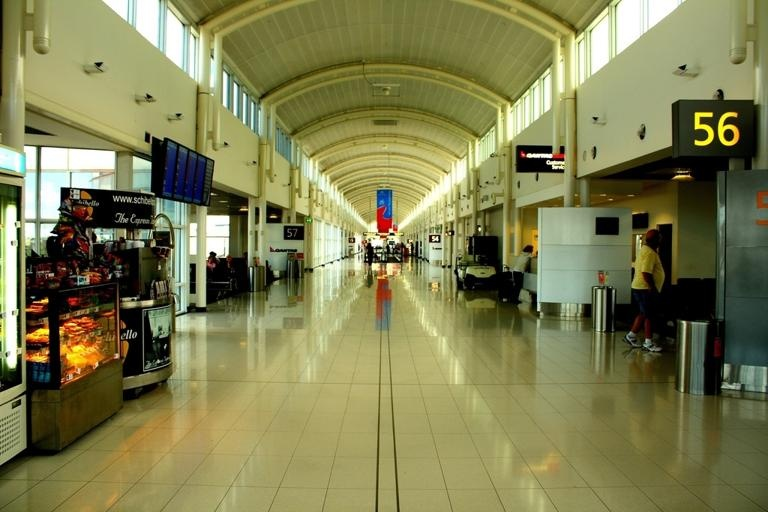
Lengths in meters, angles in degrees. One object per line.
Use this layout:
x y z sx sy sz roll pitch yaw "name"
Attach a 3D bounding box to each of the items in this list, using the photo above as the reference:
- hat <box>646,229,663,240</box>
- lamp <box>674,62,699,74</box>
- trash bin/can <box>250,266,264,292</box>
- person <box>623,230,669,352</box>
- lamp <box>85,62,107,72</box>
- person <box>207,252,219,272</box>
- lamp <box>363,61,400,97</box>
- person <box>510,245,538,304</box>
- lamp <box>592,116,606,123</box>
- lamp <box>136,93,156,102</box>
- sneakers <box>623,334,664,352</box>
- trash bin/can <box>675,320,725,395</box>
4.734 -0.370 11.082 0.301 0.213 0.372 -4 -2 8 "hat"
5.278 -3.263 11.071 0.252 0.205 0.519 -3 16 -9 "lamp"
-3.901 0.694 19.359 0.500 0.818 0.360 -9 17 -30 "trash bin/can"
4.609 0.640 11.022 0.523 2.116 0.738 0 14 0 "person"
-4.848 -3.179 10.658 0.212 0.197 0.417 3 16 12 "lamp"
-5.334 0.126 19.588 0.327 0.646 0.846 -4 15 -13 "person"
-0.186 -6.886 24.931 1.572 0.944 0.939 5 5 -2 "lamp"
3.847 0.378 17.377 0.609 1.531 1.475 3 15 14 "person"
4.716 -2.972 13.810 0.269 0.112 0.119 -7 14 -5 "lamp"
-4.569 -3.039 12.174 0.290 0.190 0.582 -1 16 -2 "lamp"
4.575 1.549 11.138 0.638 0.303 0.221 3 4 30 "sneakers"
4.567 1.451 9.092 0.622 0.959 0.537 4 15 17 "trash bin/can"
